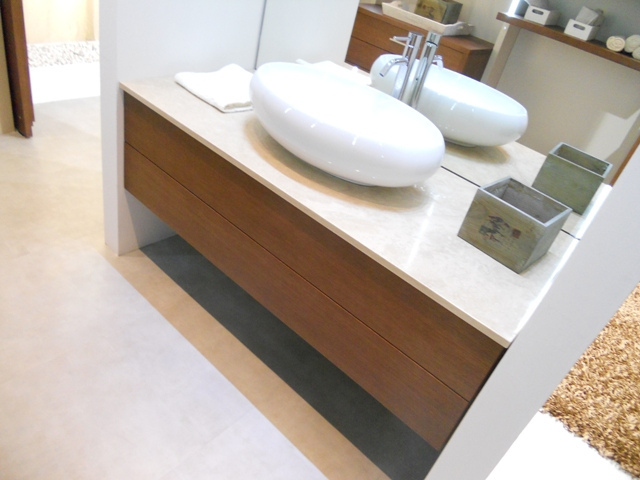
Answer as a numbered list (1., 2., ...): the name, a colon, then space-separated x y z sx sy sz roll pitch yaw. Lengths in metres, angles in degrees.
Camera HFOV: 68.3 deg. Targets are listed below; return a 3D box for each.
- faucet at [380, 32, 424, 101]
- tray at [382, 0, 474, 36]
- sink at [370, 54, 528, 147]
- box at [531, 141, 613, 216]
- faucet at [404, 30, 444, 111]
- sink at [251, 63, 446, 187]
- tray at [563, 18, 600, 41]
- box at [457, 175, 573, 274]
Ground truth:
1. faucet: 0.245 -0.524 1.510 0.121 0.262 0.044 -20 51 -27
2. tray: 0.324 -0.651 1.405 0.212 0.045 0.122 34 49 28
3. sink: 0.401 -0.391 1.502 0.388 0.122 0.264 39 45 25
4. box: 0.719 -0.173 1.339 0.089 0.126 0.166 -23 43 -31
5. faucet: 0.310 -0.521 1.492 0.098 0.276 0.038 -36 67 -26
6. sink: 0.074 -0.335 1.378 0.582 0.162 0.415 22 34 10
7. tray: 0.657 -0.527 1.187 0.057 0.036 0.058 30 46 20
8. box: 0.484 -0.027 1.228 0.209 0.144 0.221 30 20 17
